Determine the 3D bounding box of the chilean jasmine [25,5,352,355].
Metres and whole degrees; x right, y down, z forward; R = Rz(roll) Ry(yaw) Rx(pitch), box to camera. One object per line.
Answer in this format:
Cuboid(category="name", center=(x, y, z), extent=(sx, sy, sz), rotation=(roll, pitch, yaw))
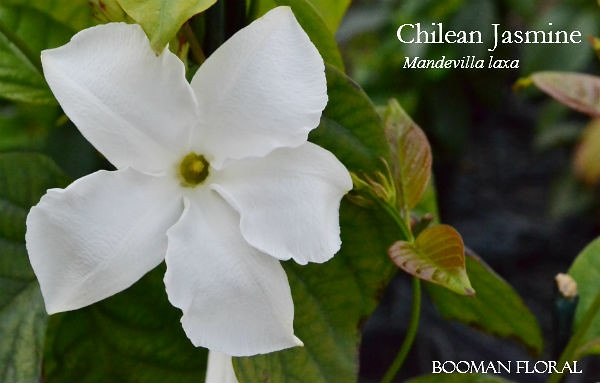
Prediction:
Cuboid(category="chilean jasmine", center=(-0.146, -0.010, 0.933), extent=(0.428, 0.364, 0.300), rotation=(-6, 38, 5))
